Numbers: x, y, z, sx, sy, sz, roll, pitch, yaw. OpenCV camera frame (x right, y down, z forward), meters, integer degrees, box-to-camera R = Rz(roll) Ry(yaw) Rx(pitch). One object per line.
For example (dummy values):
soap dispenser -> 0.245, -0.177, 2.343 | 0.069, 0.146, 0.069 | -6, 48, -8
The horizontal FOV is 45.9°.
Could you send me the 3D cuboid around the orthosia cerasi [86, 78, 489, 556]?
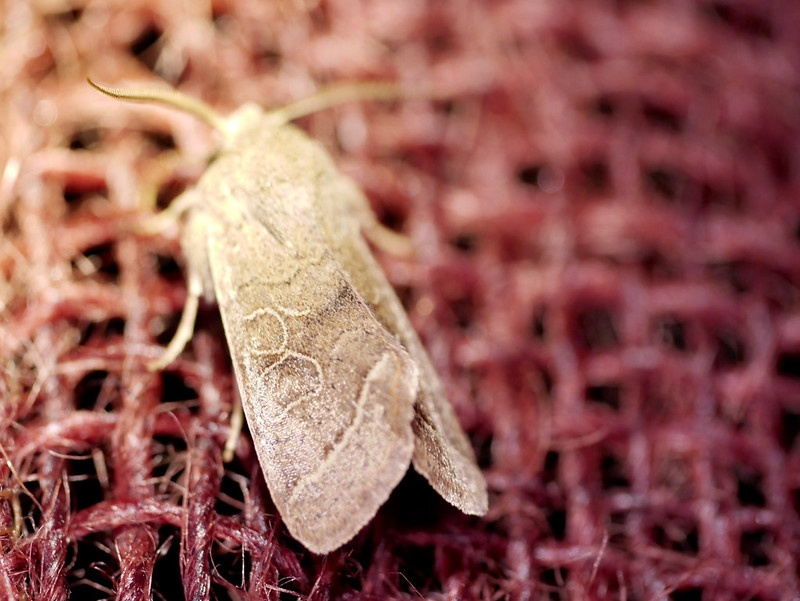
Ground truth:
orthosia cerasi -> -0.085, 0.031, 0.885 | 0.314, 0.122, 0.476 | -9, 68, -16
